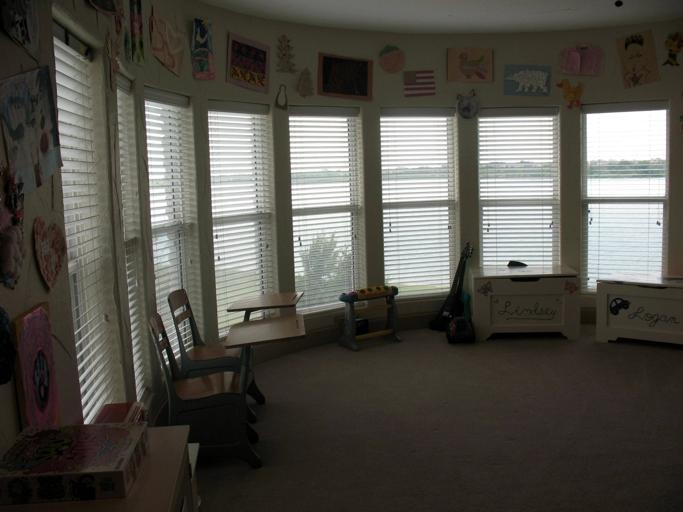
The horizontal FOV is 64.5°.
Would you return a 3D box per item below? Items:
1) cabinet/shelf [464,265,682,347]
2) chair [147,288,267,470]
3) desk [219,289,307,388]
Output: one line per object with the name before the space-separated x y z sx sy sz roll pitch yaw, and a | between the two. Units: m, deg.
cabinet/shelf | 2.349 0.512 5.560 1.994 0.719 0.369 0 11 16
chair | -0.945 0.851 3.790 0.627 1.025 0.771 -5 11 -13
desk | -0.658 0.591 4.618 0.712 0.697 0.726 -4 9 -8
